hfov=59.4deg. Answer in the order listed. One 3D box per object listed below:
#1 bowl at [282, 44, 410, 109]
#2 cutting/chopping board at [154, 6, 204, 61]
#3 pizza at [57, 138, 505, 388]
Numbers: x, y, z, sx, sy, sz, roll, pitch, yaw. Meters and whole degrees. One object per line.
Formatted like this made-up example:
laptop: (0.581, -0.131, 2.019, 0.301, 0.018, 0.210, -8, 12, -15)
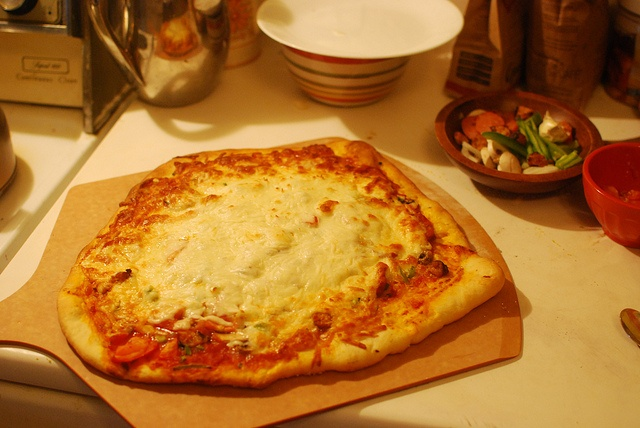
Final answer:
bowl: (0.087, -0.524, 2.080, 0.420, 0.199, 0.437, 5, 24, -2)
cutting/chopping board: (-0.469, -0.575, 1.831, 0.140, 0.135, 0.042, -22, 53, -20)
pizza: (-0.089, 0.131, 1.484, 0.845, 0.095, 0.643, -17, 46, -22)
